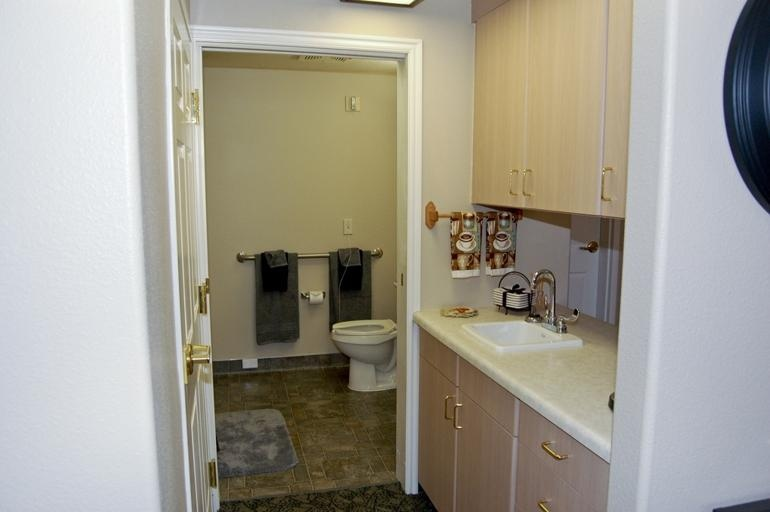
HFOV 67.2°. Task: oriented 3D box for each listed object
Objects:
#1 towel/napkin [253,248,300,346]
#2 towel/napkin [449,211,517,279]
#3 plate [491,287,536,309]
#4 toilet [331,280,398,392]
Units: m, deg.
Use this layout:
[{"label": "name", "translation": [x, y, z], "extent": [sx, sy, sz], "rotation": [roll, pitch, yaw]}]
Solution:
[{"label": "towel/napkin", "translation": [-0.870, 0.323, 4.699], "extent": [0.347, 0.746, 0.145], "rotation": [-1, 9, -11]}, {"label": "towel/napkin", "translation": [0.504, -0.074, 3.053], "extent": [0.316, 0.308, 0.040], "rotation": [-3, 13, -9]}, {"label": "plate", "translation": [0.655, 0.196, 2.936], "extent": [0.127, 0.053, 0.118], "rotation": [-2, 9, -13]}, {"label": "toilet", "translation": [-0.129, 0.773, 4.585], "extent": [0.503, 0.533, 0.586], "rotation": [-4, 6, -15]}]
